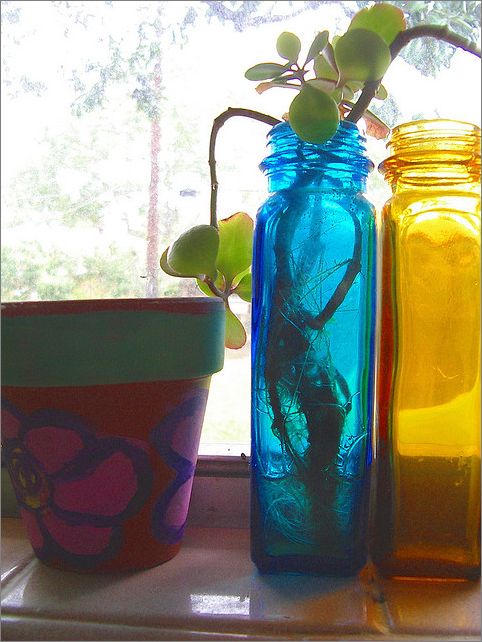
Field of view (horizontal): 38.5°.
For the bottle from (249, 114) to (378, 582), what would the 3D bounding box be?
[{"bbox_3d":[0.057,0.023,0.547,0.094,0.353,0.083,0,12,4],"label":"bottle"}]
